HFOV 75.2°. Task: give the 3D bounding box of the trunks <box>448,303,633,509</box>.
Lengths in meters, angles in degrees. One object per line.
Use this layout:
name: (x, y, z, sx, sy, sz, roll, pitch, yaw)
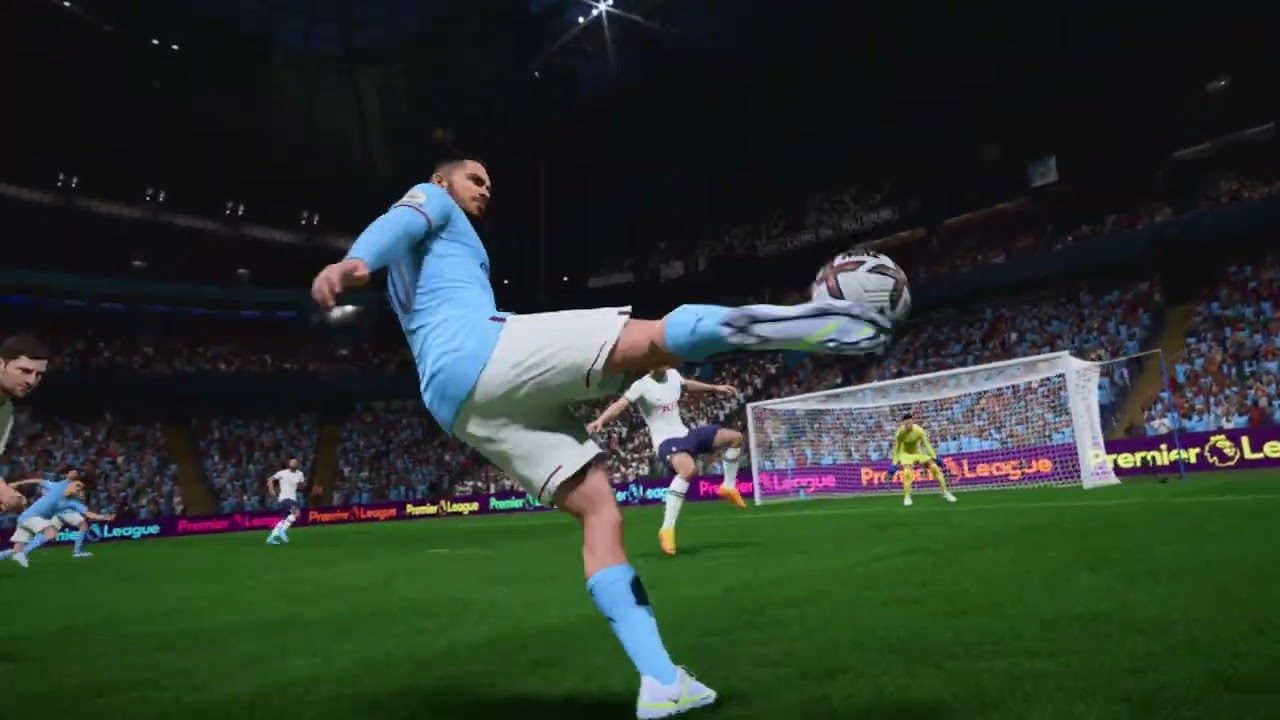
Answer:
trunks: (-1.788, 0.811, 15.493, 3.074, 3.306, 1.129, -7, -12, 3)
